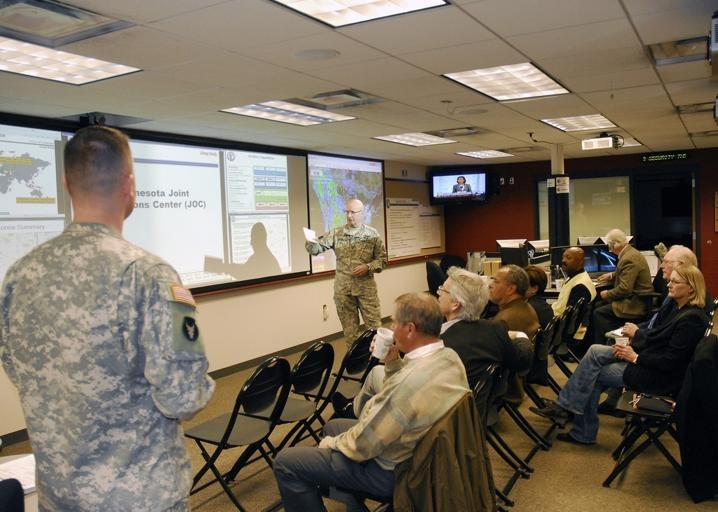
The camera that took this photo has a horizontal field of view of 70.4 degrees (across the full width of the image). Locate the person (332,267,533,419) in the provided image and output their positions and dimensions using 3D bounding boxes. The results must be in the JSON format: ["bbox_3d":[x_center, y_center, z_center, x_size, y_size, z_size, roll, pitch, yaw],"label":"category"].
[{"bbox_3d":[0.518,0.600,3.549,0.956,1.232,0.911,-17,36,-31],"label":"person"}]

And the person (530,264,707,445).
[{"bbox_3d":[2.085,0.756,4.003,1.098,1.387,0.639,4,3,31],"label":"person"}]

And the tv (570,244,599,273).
[{"bbox_3d":[3.018,0.039,6.741,0.426,0.291,0.223,0,-5,-19],"label":"tv"}]

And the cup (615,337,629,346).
[{"bbox_3d":[2.234,0.720,4.299,0.073,0.067,0.072,-1,1,0],"label":"cup"}]
